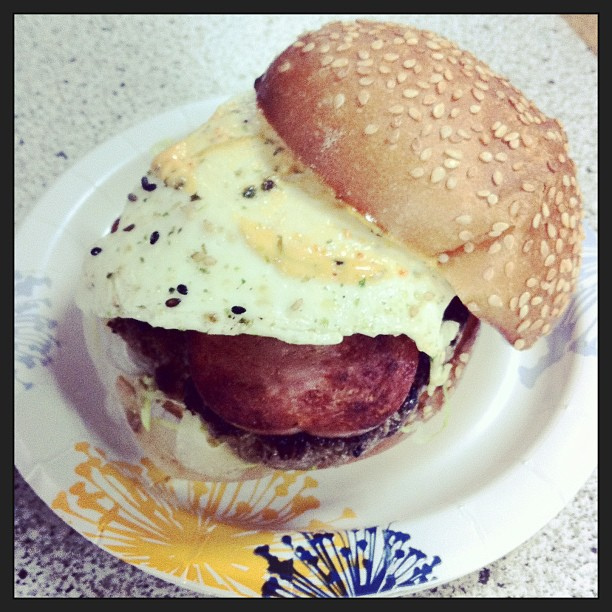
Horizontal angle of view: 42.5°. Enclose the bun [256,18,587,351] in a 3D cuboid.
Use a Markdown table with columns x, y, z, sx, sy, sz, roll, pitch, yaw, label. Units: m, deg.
| x | y | z | sx | sy | sz | roll | pitch | yaw | label |
| --- | --- | --- | --- | --- | --- | --- | --- | --- | --- |
| 0.193 | -0.272 | 1.259 | 0.602 | 0.177 | 0.446 | 39 | 53 | -13 | bun |
